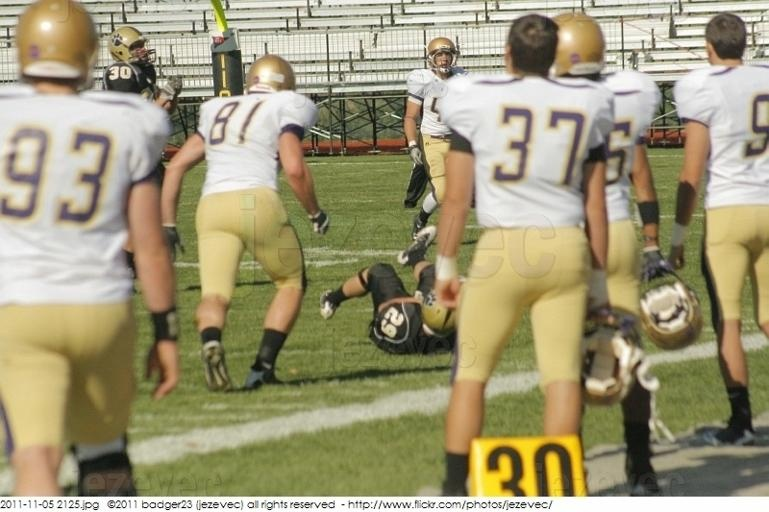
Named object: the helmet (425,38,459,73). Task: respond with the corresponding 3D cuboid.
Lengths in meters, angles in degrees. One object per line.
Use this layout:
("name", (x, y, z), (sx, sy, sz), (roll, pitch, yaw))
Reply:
("helmet", (0.533, -1.799, 9.921), (0.275, 0.323, 0.334), (-5, -9, -5))

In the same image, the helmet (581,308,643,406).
("helmet", (0.922, 0.436, 4.506), (0.296, 0.338, 0.143), (5, -4, 19))

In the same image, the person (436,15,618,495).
("person", (0.575, 0.034, 4.505), (0.722, 2.050, 0.466), (1, 8, 0))

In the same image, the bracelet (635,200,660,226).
("bracelet", (1.320, -0.216, 5.428), (0.112, 0.119, 0.105), (-1, 0, -22))

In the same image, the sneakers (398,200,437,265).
("sneakers", (0.197, -0.058, 6.295), (0.200, 0.147, 0.444), (-41, 14, 13))

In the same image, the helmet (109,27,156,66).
("helmet", (-1.976, -1.644, 8.405), (0.358, 0.247, 0.273), (-6, 27, -27))

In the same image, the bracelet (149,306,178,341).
("bracelet", (-0.868, 0.261, 4.198), (0.112, 0.118, 0.104), (11, -14, -36))

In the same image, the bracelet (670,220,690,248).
("bracelet", (1.518, -0.103, 5.572), (0.133, 0.154, 0.090), (3, -1, -22))

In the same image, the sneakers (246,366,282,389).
("sneakers", (-0.636, 0.631, 5.647), (0.133, 0.065, 0.105), (0, -2, -28))

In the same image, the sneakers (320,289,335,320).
("sneakers", (-0.322, 0.275, 5.997), (0.058, 0.160, 0.070), (34, -53, -26))

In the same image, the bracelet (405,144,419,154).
("bracelet", (0.268, -1.022, 10.287), (0.095, 0.066, 0.100), (2, -21, -9))

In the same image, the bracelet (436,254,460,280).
("bracelet", (0.256, 0.049, 4.467), (0.094, 0.102, 0.096), (0, 5, -2))

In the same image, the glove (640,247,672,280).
("glove", (1.323, 0.038, 5.314), (0.142, 0.156, 0.084), (-1, -5, -2))

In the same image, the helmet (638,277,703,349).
("helmet", (1.327, 0.255, 5.156), (0.247, 0.305, 0.169), (-35, 3, 7))

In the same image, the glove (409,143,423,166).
("glove", (0.271, -0.947, 10.271), (0.069, 0.178, 0.129), (-16, -19, 16))

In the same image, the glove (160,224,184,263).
("glove", (-1.243, -0.063, 6.218), (0.104, 0.225, 0.317), (-9, 9, -28))

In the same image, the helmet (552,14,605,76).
("helmet", (0.811, -0.902, 4.690), (0.215, 0.236, 0.278), (4, 31, 2))

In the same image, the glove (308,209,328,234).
("glove", (-0.338, -0.170, 5.530), (0.063, 0.148, 0.068), (-13, 8, 3))

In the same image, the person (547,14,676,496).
("person", (0.981, -0.017, 5.135), (0.747, 2.150, 0.379), (1, 6, 43))

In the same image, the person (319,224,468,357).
("person", (0.069, 0.253, 6.038), (0.538, 0.325, 0.757), (-16, 14, -17))
